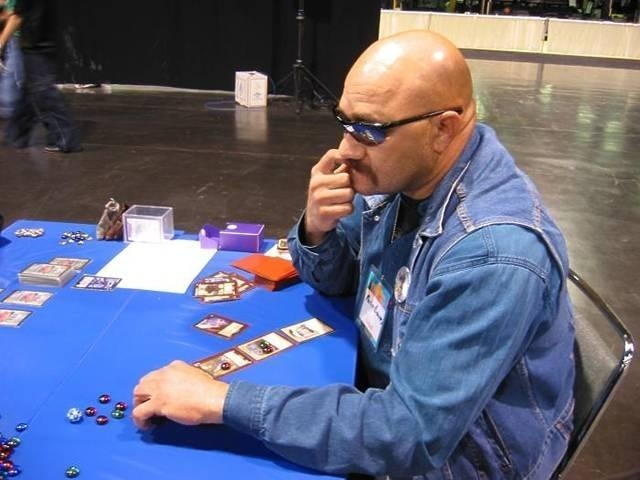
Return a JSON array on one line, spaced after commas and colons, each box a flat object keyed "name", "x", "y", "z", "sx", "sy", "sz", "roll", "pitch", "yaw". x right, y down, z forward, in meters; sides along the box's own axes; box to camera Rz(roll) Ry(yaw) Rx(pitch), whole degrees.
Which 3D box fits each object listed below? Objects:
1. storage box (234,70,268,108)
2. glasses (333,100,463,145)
[{"name": "storage box", "x": -1.241, "y": -2.705, "z": 8.648, "sx": 0.379, "sy": 0.472, "sz": 0.661, "roll": -10, "pitch": 26, "yaw": -28}, {"name": "glasses", "x": 0.235, "y": -0.363, "z": 1.448, "sx": 0.241, "sy": 0.118, "sz": 0.298, "roll": -14, "pitch": 22, "yaw": -39}]
